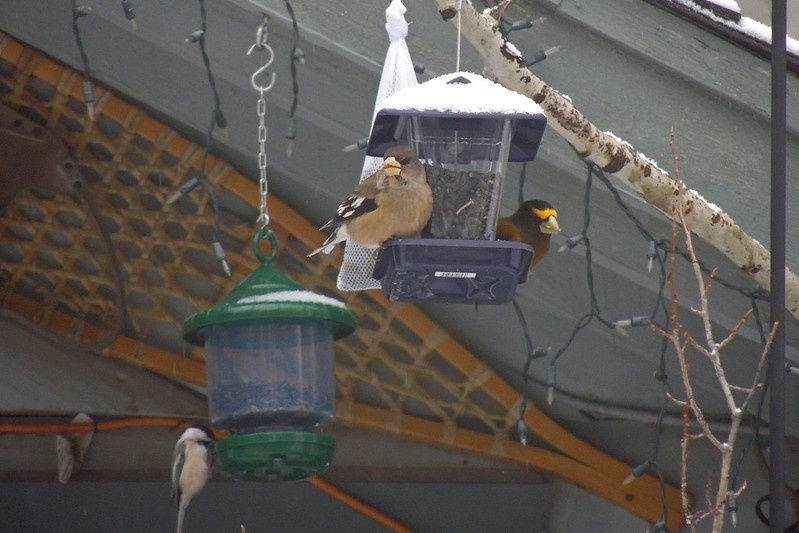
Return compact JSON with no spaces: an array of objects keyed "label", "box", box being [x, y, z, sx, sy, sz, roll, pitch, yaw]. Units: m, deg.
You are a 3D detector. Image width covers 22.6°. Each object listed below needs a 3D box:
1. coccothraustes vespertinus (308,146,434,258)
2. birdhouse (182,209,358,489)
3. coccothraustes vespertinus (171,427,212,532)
[{"label":"coccothraustes vespertinus","box":[-0.081,-0.371,10.831,0.556,0.587,0.300,11,6,14]},{"label":"birdhouse","box":[-0.735,0.483,11.236,0.917,1.321,0.993,-2,-8,0]},{"label":"coccothraustes vespertinus","box":[-1.258,1.320,11.975,0.232,0.643,0.259,3,5,-11]}]
